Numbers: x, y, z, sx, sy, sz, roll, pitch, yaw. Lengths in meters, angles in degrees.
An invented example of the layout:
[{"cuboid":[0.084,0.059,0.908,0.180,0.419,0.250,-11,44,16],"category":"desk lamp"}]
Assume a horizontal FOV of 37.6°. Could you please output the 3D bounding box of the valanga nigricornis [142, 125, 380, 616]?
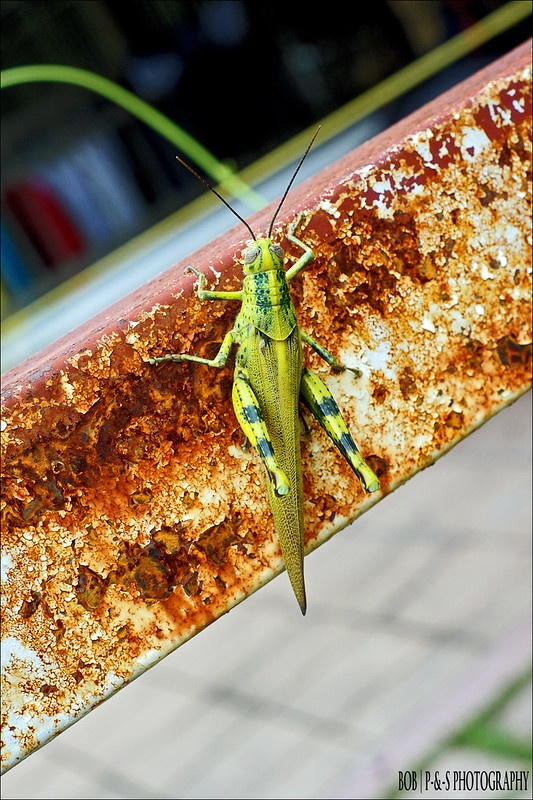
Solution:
[{"cuboid":[-0.025,-0.026,0.833,0.257,0.455,0.154,-3,-7,-15],"category":"valanga nigricornis"}]
